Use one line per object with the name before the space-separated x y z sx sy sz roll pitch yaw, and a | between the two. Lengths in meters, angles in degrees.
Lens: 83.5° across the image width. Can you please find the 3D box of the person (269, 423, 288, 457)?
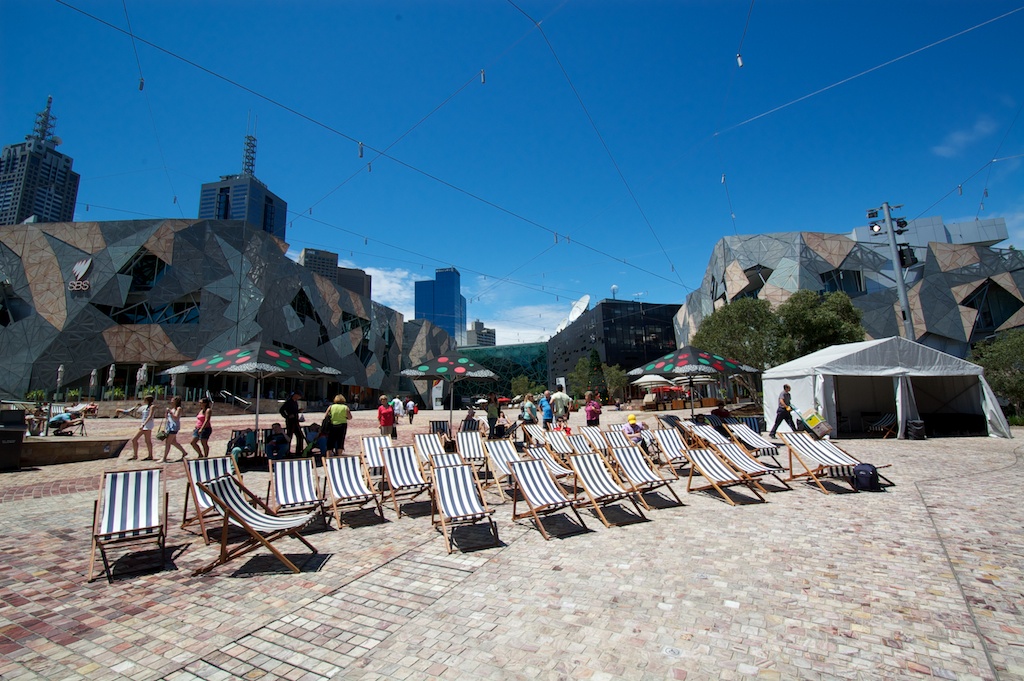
person | -6.471 2.720 15.683 0.491 0.859 0.530 0 -6 -8

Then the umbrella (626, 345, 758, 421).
umbrella | 5.181 0.821 17.461 3.357 1.465 3.524 -4 -5 27

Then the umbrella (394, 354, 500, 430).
umbrella | -1.789 1.599 18.650 2.582 1.708 2.482 -2 -7 19
